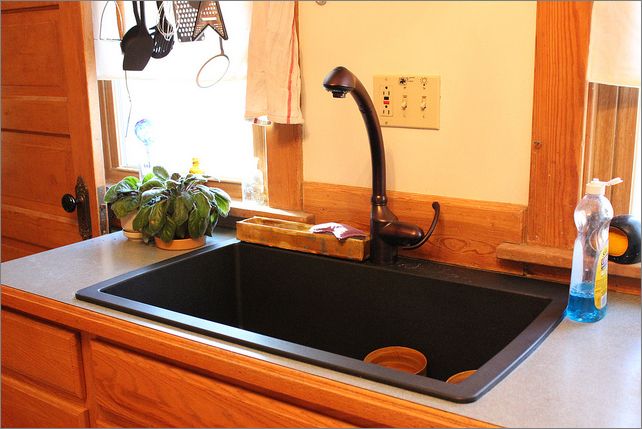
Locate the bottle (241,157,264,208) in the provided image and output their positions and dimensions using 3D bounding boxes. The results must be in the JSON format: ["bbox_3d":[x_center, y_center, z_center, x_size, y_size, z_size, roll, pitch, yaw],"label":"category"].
[{"bbox_3d":[-0.269,-0.130,1.849,0.089,0.174,0.093,-3,16,1],"label":"bottle"}]

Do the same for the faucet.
[{"bbox_3d":[0.159,-0.135,1.413,0.278,0.578,0.154,-3,16,1],"label":"faucet"}]

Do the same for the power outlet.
[{"bbox_3d":[0.270,-0.346,1.470,0.185,0.132,0.053,9,19,31],"label":"power outlet"}]

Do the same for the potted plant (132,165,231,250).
[{"bbox_3d":[-0.481,-0.044,1.644,0.269,0.169,0.271,9,14,36],"label":"potted plant"}]

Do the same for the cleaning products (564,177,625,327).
[{"bbox_3d":[0.669,0.109,1.188,0.083,0.305,0.107,5,18,27],"label":"cleaning products"}]

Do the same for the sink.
[{"bbox_3d":[0.009,0.324,1.350,1.194,0.313,0.616,5,17,27],"label":"sink"}]
